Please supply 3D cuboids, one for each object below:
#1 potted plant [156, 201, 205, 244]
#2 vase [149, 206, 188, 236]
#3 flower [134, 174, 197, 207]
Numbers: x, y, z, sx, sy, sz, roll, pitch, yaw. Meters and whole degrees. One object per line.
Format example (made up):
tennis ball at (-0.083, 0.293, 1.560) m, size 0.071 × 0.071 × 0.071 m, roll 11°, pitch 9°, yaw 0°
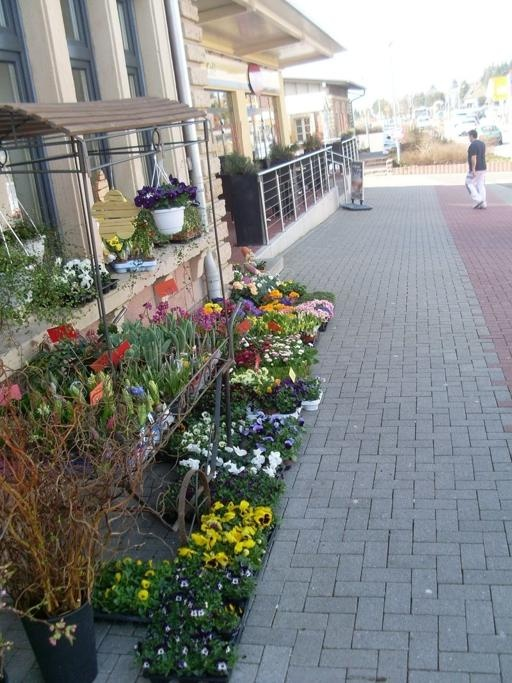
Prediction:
potted plant at (-0.640, -1.105, 4.684) m, size 0.415 × 0.282 × 0.364 m, roll -27°, pitch 40°, yaw -36°
vase at (-0.701, -0.980, 4.082) m, size 0.244 × 0.168 × 0.236 m, roll 2°, pitch 23°, yaw 9°
flower at (-0.741, -1.161, 4.043) m, size 0.405 × 0.190 × 0.343 m, roll -11°, pitch 17°, yaw -21°
